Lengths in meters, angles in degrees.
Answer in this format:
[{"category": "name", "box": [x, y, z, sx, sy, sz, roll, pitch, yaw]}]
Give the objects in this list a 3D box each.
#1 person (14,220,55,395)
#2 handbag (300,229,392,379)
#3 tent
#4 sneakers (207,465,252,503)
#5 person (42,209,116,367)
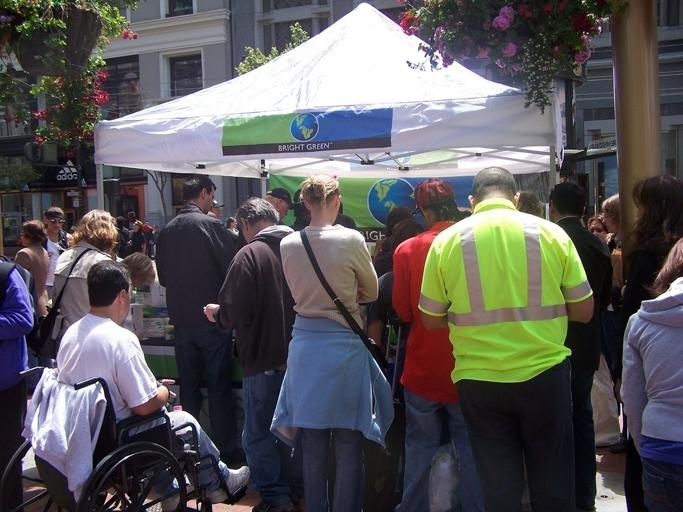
[{"category": "person", "box": [-3.397, 0.498, 8.642, 0.432, 1.729, 0.461, -6, 0, 2]}, {"category": "handbag", "box": [0.022, 0.340, 5.656, 0.616, 1.093, 0.306, -3, 4, -12]}, {"category": "tent", "box": [-0.109, -1.381, 7.660, 3.197, 1.586, 3.449, 1, 7, 20]}, {"category": "sneakers", "box": [-0.841, 1.704, 5.878, 0.124, 0.183, 0.399, -1, 5, 25]}, {"category": "person", "box": [-2.342, 0.461, 6.957, 0.442, 1.761, 0.461, 14, 8, 17]}]
